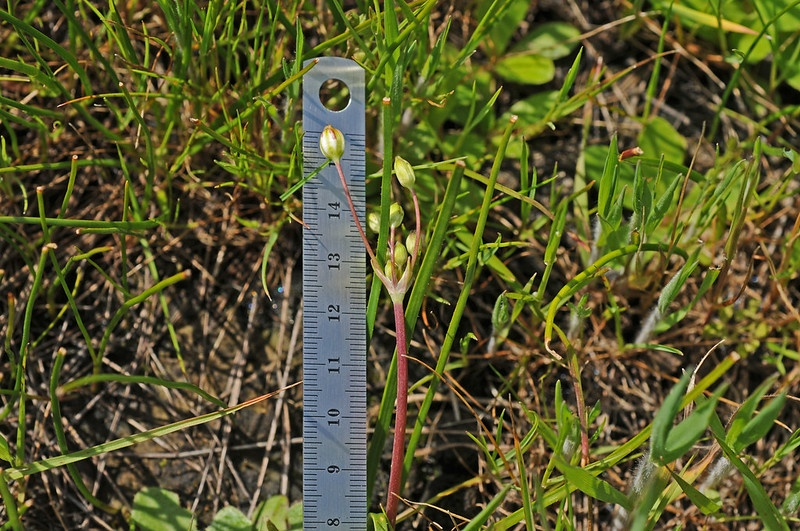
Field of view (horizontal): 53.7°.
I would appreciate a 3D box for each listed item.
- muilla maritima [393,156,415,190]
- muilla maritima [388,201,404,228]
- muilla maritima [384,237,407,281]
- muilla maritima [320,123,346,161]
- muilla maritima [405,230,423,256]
[{"bbox_3d":[0.020,-0.301,2.458,0.042,0.138,0.043,-19,49,7],"label":"muilla maritima"},{"bbox_3d":[-0.011,-0.153,2.482,0.033,0.039,0.086,2,89,-3],"label":"muilla maritima"},{"bbox_3d":[-0.012,-0.014,2.453,0.061,0.085,0.085,25,54,16],"label":"muilla maritima"},{"bbox_3d":[-0.221,-0.375,2.497,0.069,0.116,0.106,1,23,-10],"label":"muilla maritima"},{"bbox_3d":[0.046,-0.066,2.483,0.020,0.052,0.075,7,83,-28],"label":"muilla maritima"}]
